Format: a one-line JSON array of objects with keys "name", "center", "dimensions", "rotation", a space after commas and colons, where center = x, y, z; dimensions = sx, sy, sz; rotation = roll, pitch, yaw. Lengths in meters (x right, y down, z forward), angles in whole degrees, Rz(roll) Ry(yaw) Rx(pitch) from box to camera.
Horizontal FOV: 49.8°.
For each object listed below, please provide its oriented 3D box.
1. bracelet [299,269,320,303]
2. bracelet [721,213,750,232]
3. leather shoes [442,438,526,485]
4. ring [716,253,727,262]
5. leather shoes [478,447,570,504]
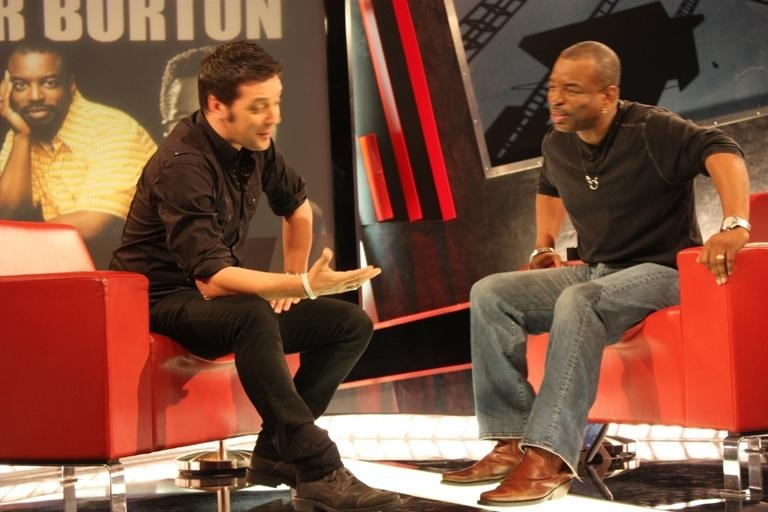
[{"name": "bracelet", "center": [-0.277, 0.111, 3.058], "dimensions": [0.049, 0.087, 0.060], "rotation": [0, -1, 16]}, {"name": "bracelet", "center": [1.291, -0.119, 3.029], "dimensions": [0.079, 0.046, 0.074], "rotation": [0, 3, -24]}, {"name": "leather shoes", "center": [0.401, 0.780, 3.153], "dimensions": [0.370, 0.138, 0.127], "rotation": [-2, -7, 5]}, {"name": "ring", "center": [1.205, 0.007, 2.941], "dimensions": [0.027, 0.024, 0.005], "rotation": [-3, -40, 12]}, {"name": "leather shoes", "center": [0.520, 0.782, 2.915], "dimensions": [0.378, 0.232, 0.149], "rotation": [0, -16, -10]}]
